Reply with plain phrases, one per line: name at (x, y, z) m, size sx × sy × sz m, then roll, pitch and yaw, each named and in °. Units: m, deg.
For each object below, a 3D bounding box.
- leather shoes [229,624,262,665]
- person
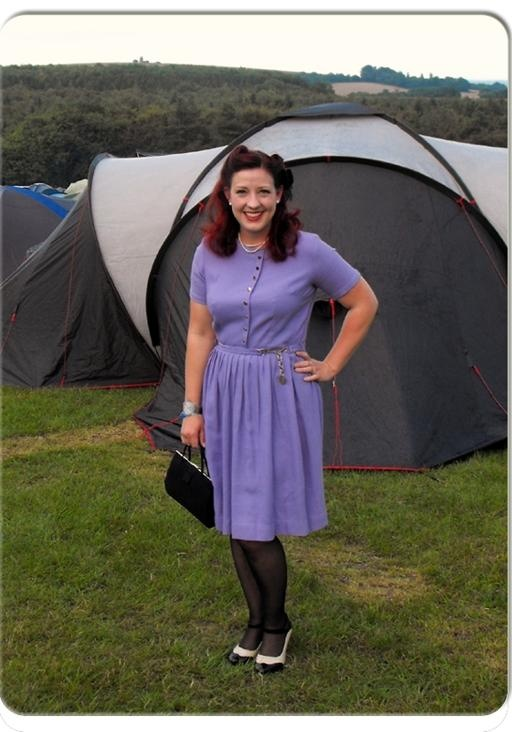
leather shoes at (-0.028, 1.105, 2.378) m, size 0.067 × 0.101 × 0.233 m, roll -2°, pitch -9°, yaw 15°
person at (0.065, 0.206, 2.210) m, size 0.717 × 1.944 × 0.394 m, roll 1°, pitch 6°, yaw 0°
